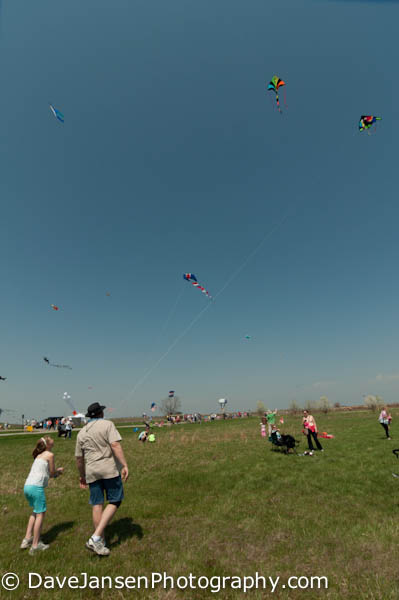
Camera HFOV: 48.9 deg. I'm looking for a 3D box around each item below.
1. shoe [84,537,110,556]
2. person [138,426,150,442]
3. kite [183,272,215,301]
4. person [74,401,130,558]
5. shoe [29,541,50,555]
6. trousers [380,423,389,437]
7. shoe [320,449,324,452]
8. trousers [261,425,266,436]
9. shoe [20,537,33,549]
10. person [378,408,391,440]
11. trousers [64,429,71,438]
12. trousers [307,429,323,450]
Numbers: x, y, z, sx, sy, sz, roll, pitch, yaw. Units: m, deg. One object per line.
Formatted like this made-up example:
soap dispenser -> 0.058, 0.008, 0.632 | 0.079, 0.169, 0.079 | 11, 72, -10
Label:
shoe -> -1.956, 4.812, 8.655 | 0.489, 0.412, 0.197 | 5, -12, -30
person -> -3.470, 8.429, 27.830 | 0.646, 0.602, 1.336 | 1, -10, -7
kite -> -0.222, -0.739, 16.329 | 0.289, 1.239, 0.416 | -42, -1, -6
person -> -1.965, 3.588, 8.925 | 1.138, 2.915, 0.599 | -2, -11, 8
shoe -> -3.202, 4.964, 8.887 | 0.124, 0.163, 0.380 | -1, -5, 39
trousers -> 8.971, 6.229, 21.639 | 0.328, 1.124, 0.260 | -12, 22, 15
shoe -> 5.348, 6.600, 19.453 | 0.080, 0.054, 0.149 | -10, -27, -9
trousers -> 3.808, 7.914, 26.837 | 0.161, 0.614, 0.372 | -3, -11, 15
shoe -> -3.486, 4.924, 8.980 | 0.120, 0.145, 0.297 | 7, -37, -3
person -> 8.971, 5.979, 21.656 | 0.437, 1.447, 1.214 | -5, -11, 21
trousers -> -9.560, 9.742, 32.337 | 0.444, 0.687, 1.530 | 2, -10, -15
trousers -> 5.115, 6.212, 19.959 | 0.608, 0.944, 1.679 | -3, -10, 13
